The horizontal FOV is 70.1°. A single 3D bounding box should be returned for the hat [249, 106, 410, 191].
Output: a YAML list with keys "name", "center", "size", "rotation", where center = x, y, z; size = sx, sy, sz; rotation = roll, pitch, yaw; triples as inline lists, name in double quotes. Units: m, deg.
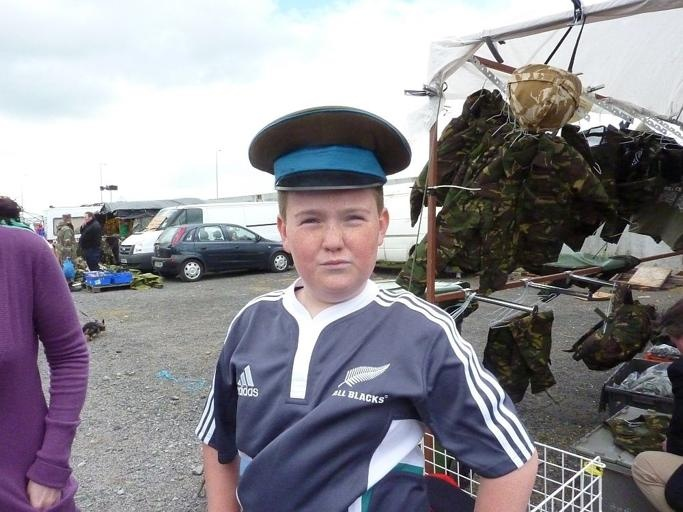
- name: "hat"
  center: [-0.042, -0.338, 1.498]
  size: [0.444, 0.162, 0.452]
  rotation: [0, 0, 5]

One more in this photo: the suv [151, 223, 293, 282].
- name: "suv"
  center: [-2.930, -0.292, 13.564]
  size: [3.815, 1.538, 2.037]
  rotation: [-5, 6, -31]

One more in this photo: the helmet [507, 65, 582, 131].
- name: "helmet"
  center: [1.190, -0.934, 3.009]
  size: [0.402, 0.343, 0.384]
  rotation: [17, 6, 37]

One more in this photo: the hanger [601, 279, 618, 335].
- name: "hanger"
  center: [2.025, 0.377, 3.676]
  size: [0.090, 0.340, 0.353]
  rotation: [5, 9, 30]
